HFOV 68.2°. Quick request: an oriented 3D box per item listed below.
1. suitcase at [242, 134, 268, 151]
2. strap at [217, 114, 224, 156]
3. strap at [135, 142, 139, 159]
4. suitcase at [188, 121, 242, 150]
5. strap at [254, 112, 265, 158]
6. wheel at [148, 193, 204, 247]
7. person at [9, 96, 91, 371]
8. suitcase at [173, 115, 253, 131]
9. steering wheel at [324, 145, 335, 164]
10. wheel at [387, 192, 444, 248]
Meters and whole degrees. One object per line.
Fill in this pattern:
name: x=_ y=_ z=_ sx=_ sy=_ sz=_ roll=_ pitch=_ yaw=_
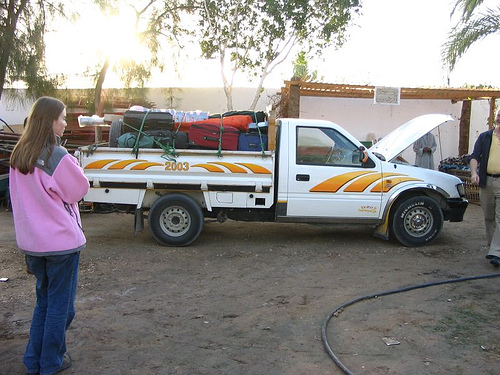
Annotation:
suitcase: x=0.074 y=-0.831 z=6.779 sx=0.324 sy=0.223 sz=0.334 roll=0 pitch=5 yaw=0
strap: x=-0.532 y=-0.875 z=6.755 sx=0.105 sy=0.574 sz=0.256 roll=1 pitch=7 yaw=6
strap: x=-2.029 y=-0.672 z=6.685 sx=0.054 sy=0.274 sz=0.040 roll=-4 pitch=8 yaw=-29
suitcase: x=-0.646 y=-0.943 z=6.754 sx=0.587 sy=0.306 sz=0.606 roll=7 pitch=6 yaw=4
strap: x=0.163 y=-0.871 z=6.789 sx=0.050 sy=0.620 sz=0.092 roll=-22 pitch=-15 yaw=33
wheel: x=-1.365 y=0.553 z=6.798 sx=0.901 sy=0.962 sz=0.321 roll=0 pitch=8 yaw=2
person: x=-1.613 y=0.409 z=3.025 sx=0.581 sy=2.268 sz=0.349 roll=-3 pitch=7 yaw=-23
suitcase: x=-0.546 y=-1.264 z=7.061 sx=0.874 sy=0.290 sz=0.581 roll=-1 pitch=6 yaw=2
steering wheel: x=1.479 y=-0.622 z=6.909 sx=0.221 sy=0.335 sz=0.086 roll=-5 pitch=8 yaw=-36
wheel: x=3.277 y=0.661 z=7.075 sx=0.346 sy=1.036 sz=0.991 roll=8 pitch=-2 yaw=-33
